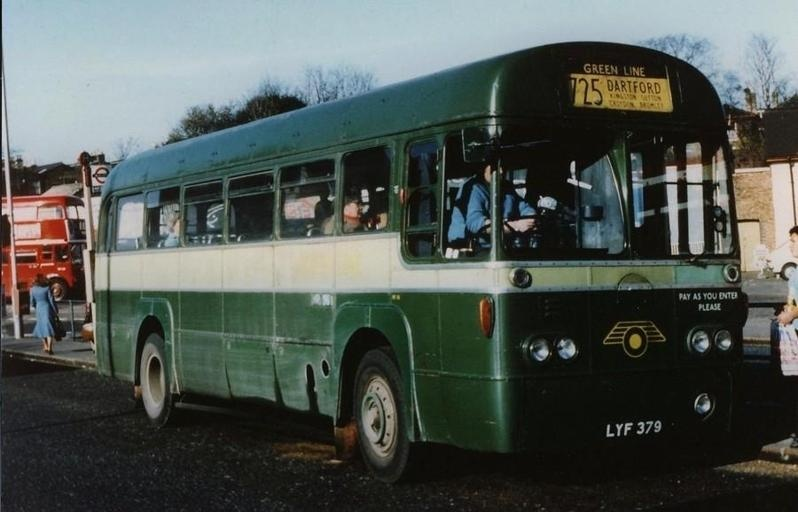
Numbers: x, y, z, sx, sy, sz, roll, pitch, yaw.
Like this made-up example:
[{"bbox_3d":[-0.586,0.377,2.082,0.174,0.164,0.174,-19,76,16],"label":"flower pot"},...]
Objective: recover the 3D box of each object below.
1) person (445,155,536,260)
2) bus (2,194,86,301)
[{"bbox_3d":[1.030,-0.448,7.618,0.716,0.753,0.998,-1,6,-11],"label":"person"},{"bbox_3d":[-21.446,-0.424,44.751,3.686,6.646,2.318,-3,2,-23],"label":"bus"}]
